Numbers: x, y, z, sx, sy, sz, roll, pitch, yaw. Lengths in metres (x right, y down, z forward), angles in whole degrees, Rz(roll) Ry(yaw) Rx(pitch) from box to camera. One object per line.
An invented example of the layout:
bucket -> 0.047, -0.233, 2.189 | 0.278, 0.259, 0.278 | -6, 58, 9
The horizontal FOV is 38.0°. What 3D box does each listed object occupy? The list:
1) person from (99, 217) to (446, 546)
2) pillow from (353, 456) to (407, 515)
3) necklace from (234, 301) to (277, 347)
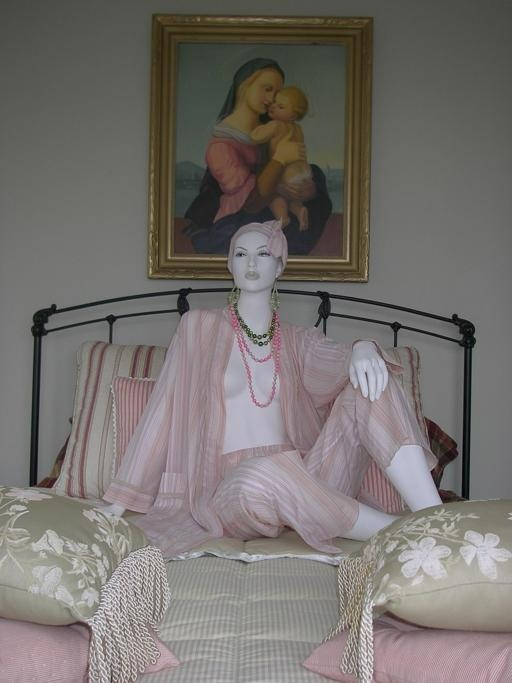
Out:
person -> 0.020, 0.056, 1.725 | 0.627, 0.793, 0.713 | 5, 0, -31
pillow -> 0.295, 0.349, 1.799 | 0.115, 0.131, 0.048 | -28, -25, 35
necklace -> 0.005, -0.057, 1.965 | 0.097, 0.116, 0.025 | -2, -36, -24
